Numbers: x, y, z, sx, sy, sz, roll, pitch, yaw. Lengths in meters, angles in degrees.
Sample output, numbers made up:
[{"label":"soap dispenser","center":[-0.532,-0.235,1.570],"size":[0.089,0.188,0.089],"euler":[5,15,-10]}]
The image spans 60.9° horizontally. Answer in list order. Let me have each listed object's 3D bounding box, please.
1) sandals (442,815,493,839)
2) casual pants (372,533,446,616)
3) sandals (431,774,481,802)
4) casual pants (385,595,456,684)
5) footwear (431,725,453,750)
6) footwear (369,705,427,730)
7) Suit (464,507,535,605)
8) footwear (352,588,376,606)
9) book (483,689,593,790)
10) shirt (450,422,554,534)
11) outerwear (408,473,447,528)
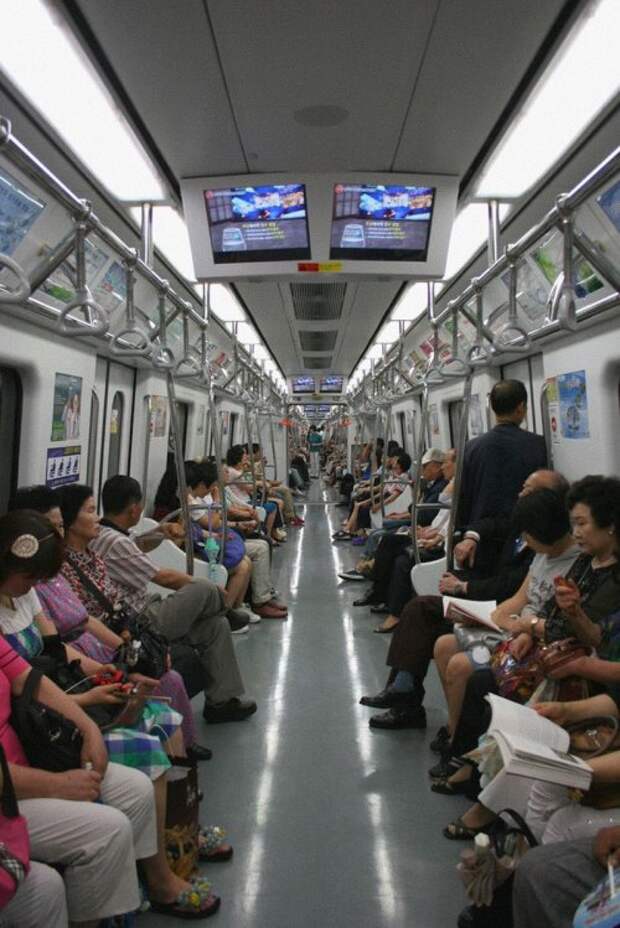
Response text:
[{"label":"sandals","center":[0.584,1.341,1.968],"size":[0.199,0.054,0.087],"euler":[0,6,0]},{"label":"casual pants","center":[0.878,1.101,4.862],"size":[0.580,0.856,0.307],"euler":[-2,16,13]},{"label":"sandals","center":[0.647,1.408,2.344],"size":[0.216,0.115,0.092],"euler":[-2,-6,24]},{"label":"casual pants","center":[0.573,1.017,3.001],"size":[0.228,0.438,0.307],"euler":[13,-17,16]},{"label":"footwear","center":[0.664,1.393,2.668],"size":[0.066,0.078,0.183],"euler":[-1,-10,9]},{"label":"footwear","center":[0.529,1.466,3.123],"size":[0.359,0.170,0.130],"euler":[3,-2,-4]},{"label":"Suit","center":[1.054,0.476,2.821],"size":[0.497,0.291,0.347],"euler":[-12,-50,28]},{"label":"footwear","center":[0.629,1.486,5.940],"size":[0.338,0.241,0.117],"euler":[0,6,6]},{"label":"book","center":[0.527,0.644,1.237],"size":[0.237,0.067,0.252],"euler":[15,6,-21]},{"label":"shirt","center":[1.229,0.089,3.363],"size":[0.605,0.874,0.278],"euler":[6,35,20]},{"label":"outerwear","center":[1.212,0.359,5.327],"size":[0.178,0.224,0.555],"euler":[12,-19,10]}]
